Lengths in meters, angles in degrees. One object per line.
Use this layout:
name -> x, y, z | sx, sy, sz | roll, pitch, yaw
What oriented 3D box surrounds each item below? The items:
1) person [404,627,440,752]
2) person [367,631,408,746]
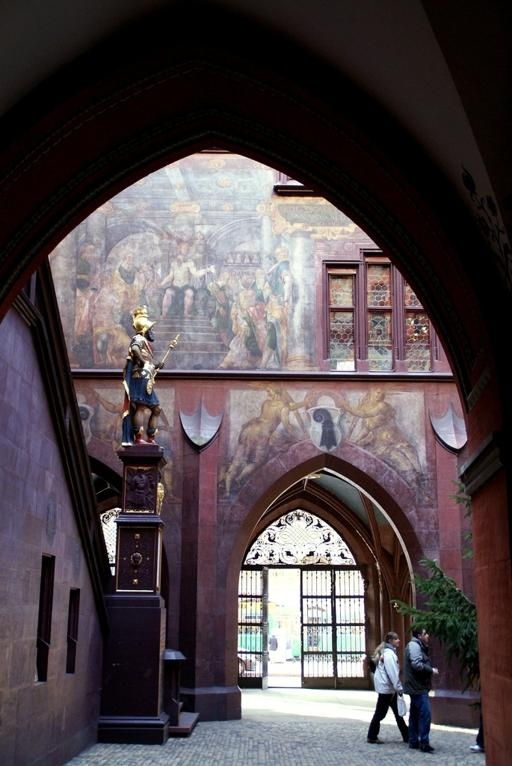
person -> 2.050, 3.786, 7.861 | 0.384, 1.486, 0.879 | -4, -16, 12
person -> 1.708, 4.038, 8.409 | 0.530, 1.387, 1.101 | -4, -16, 11
